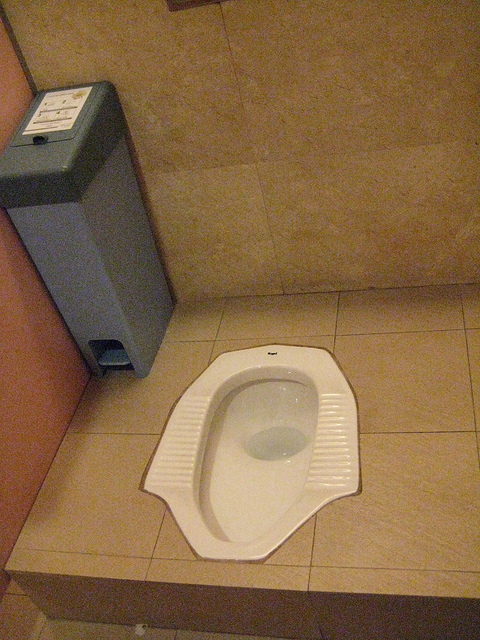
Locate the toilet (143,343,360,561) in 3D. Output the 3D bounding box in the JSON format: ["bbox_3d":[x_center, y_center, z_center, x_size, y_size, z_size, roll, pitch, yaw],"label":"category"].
[{"bbox_3d":[0.039,0.304,1.445,0.508,0.608,0.464,14,-15,-6],"label":"toilet"}]
